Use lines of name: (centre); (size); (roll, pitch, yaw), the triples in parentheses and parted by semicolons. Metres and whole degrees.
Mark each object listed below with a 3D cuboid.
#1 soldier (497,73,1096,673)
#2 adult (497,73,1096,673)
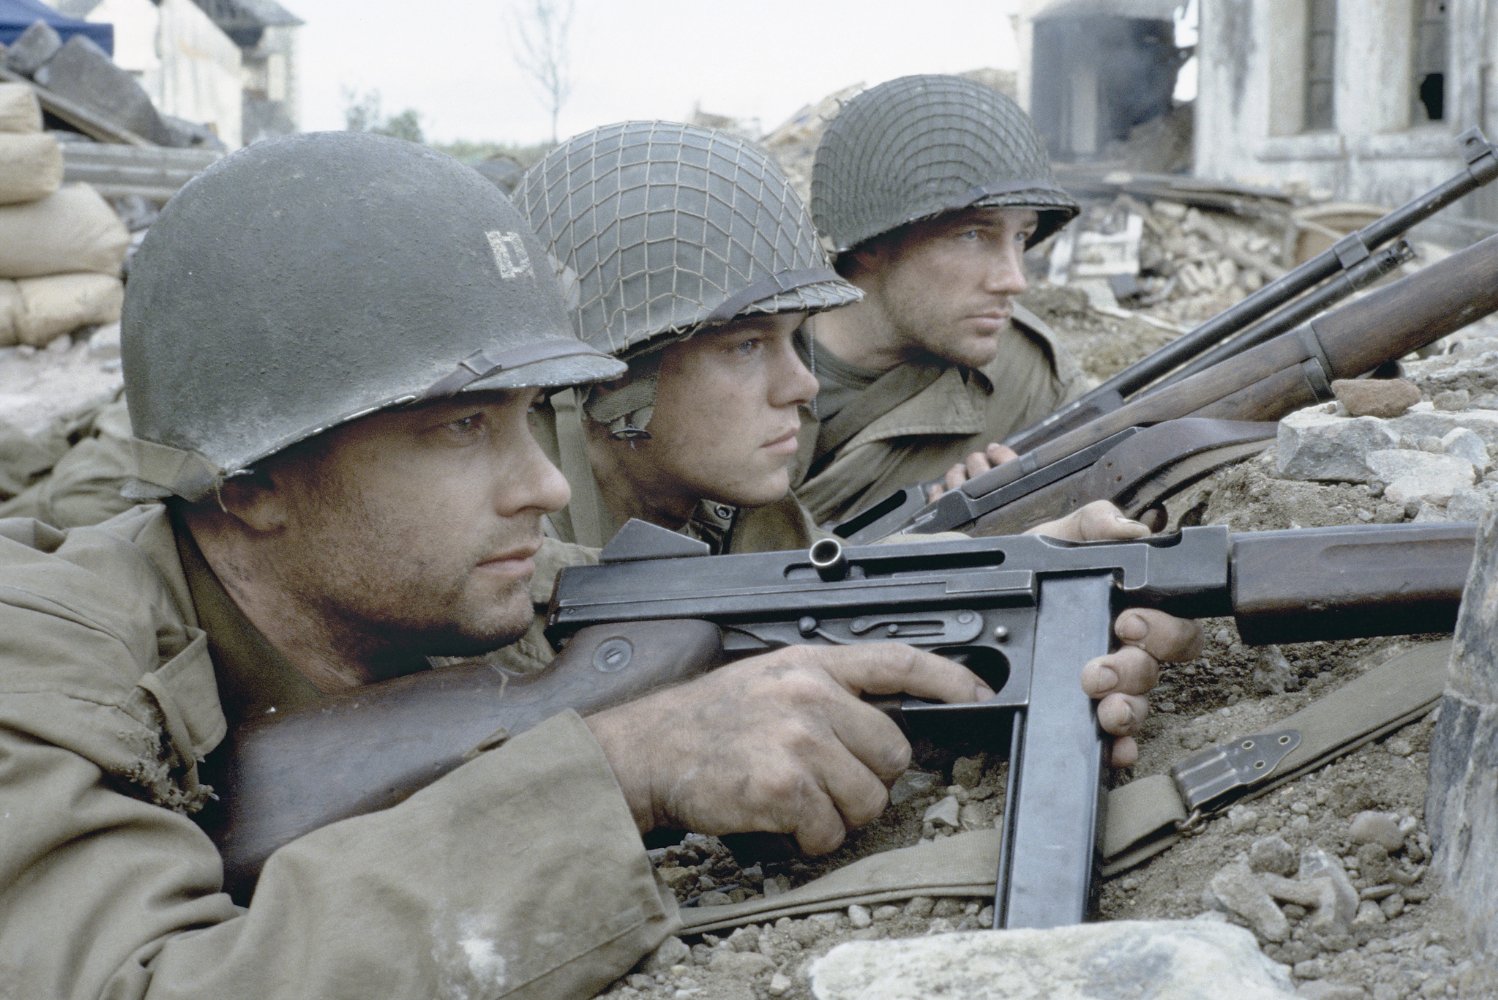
soldier: (0.017, -0.460, 4.434); (1.093, 0.958, 0.907); (-8, 4, 4)
adult: (0.041, -0.491, 4.514); (1.093, 0.958, 0.907); (-8, 4, 4)
